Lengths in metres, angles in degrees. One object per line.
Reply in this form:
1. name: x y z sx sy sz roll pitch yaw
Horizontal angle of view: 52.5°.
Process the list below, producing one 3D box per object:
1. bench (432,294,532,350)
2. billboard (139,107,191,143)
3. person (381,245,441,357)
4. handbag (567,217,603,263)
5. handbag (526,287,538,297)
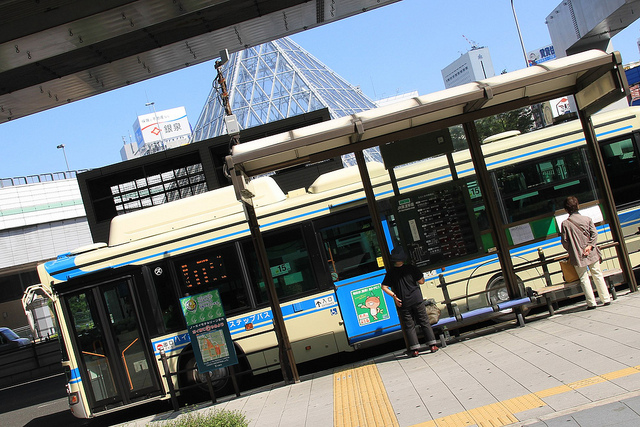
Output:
1. bench: 4.562 3.030 18.691 2.689 0.966 3.602 -14 -8 7
2. billboard: -29.986 -17.477 122.908 9.300 5.519 5.043 -18 31 -19
3. person: 2.327 2.313 16.995 1.014 1.991 0.637 -14 -8 4
4. handbag: 6.934 0.668 16.921 0.868 1.049 0.292 -8 -10 -33
5. handbag: 5.549 2.083 17.155 0.262 0.157 0.260 2 6 -2
